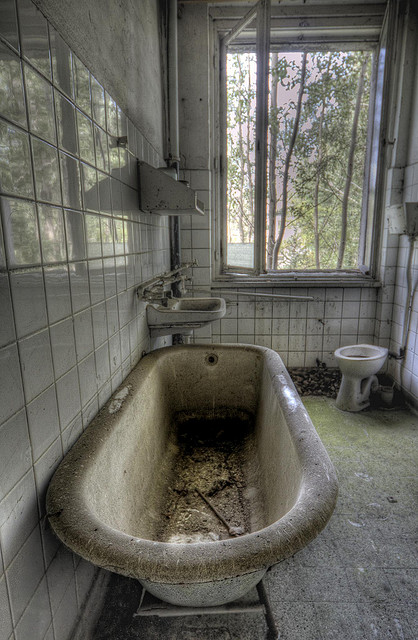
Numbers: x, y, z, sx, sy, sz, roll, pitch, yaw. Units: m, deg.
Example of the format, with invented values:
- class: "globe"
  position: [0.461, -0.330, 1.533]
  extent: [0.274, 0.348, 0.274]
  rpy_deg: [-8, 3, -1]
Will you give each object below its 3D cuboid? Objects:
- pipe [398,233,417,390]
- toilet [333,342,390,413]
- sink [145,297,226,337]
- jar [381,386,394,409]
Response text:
- class: "pipe"
  position: [1.478, -0.041, 2.780]
  extent: [0.050, 1.195, 0.176]
  rpy_deg: [5, 9, 29]
- class: "toilet"
  position: [1.096, 0.422, 2.726]
  extent: [0.301, 0.493, 0.338]
  rpy_deg: [0, 19, 1]
- class: "sink"
  position: [-0.108, -0.018, 2.088]
  extent: [0.385, 0.183, 0.736]
  rpy_deg: [3, 10, 5]
- class: "jar"
  position: [1.329, 0.587, 2.766]
  extent: [0.086, 0.143, 0.081]
  rpy_deg: [1, 9, 0]
